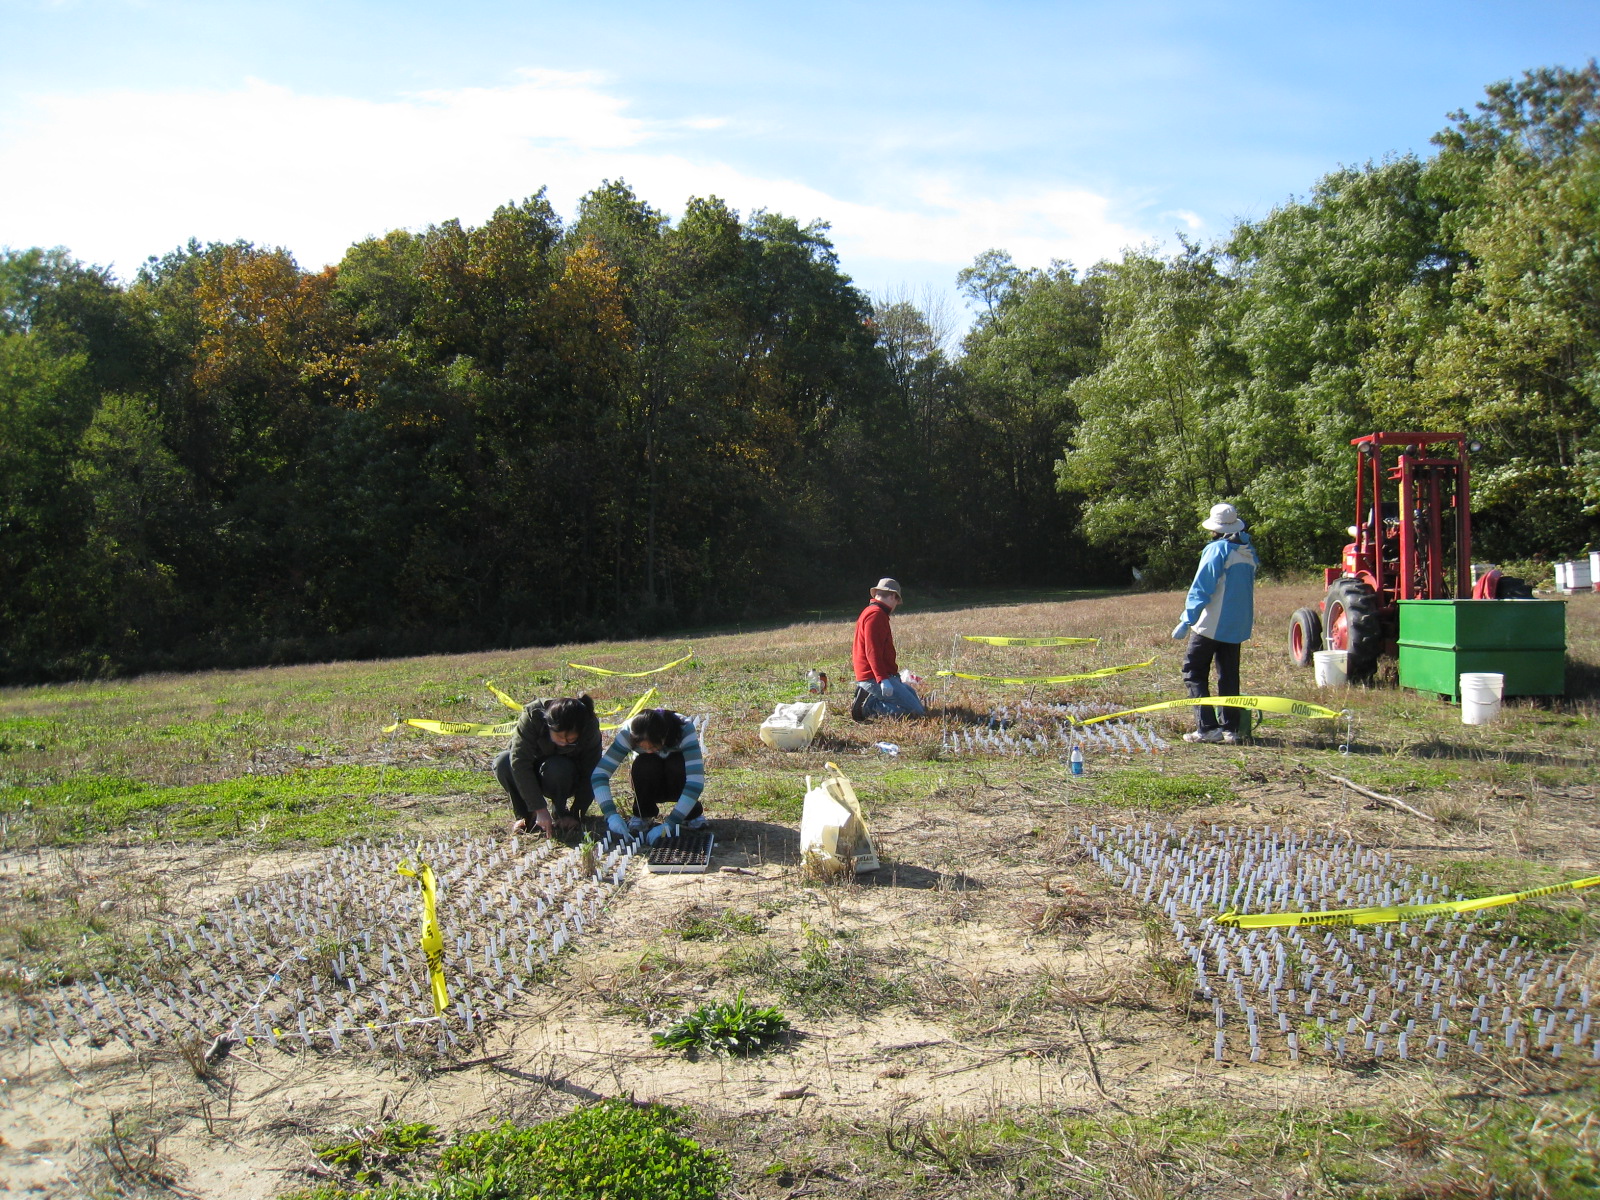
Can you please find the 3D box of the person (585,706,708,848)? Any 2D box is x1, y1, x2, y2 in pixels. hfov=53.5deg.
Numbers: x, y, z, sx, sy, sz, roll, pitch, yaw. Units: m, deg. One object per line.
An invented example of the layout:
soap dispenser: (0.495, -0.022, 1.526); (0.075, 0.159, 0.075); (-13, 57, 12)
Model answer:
person: (-1.392, 1.578, 15.250); (1.010, 1.551, 1.528); (1, 24, 7)

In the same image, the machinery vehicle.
machinery vehicle: (9.074, -0.717, 22.780); (2.498, 4.177, 4.475); (0, 4, 1)

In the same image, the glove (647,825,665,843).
glove: (-1.321, 2.140, 14.740); (0.131, 0.040, 0.144); (0, 20, 11)

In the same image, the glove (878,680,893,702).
glove: (1.082, 1.086, 19.747); (0.237, 0.254, 0.064); (-2, 2, 6)

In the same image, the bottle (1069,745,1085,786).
bottle: (2.951, 1.749, 16.875); (0.217, 0.415, 0.222); (-1, -3, 0)

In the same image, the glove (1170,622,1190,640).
glove: (4.919, 0.378, 20.471); (0.156, 0.165, 0.276); (-49, -6, -45)

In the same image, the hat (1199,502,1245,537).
hat: (4.989, -0.884, 18.707); (0.481, 0.381, 0.682); (-4, 18, 8)

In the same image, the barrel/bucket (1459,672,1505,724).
barrel/bucket: (8.035, 1.125, 18.655); (0.485, 0.612, 0.529); (0, 0, 0)

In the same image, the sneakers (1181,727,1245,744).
sneakers: (4.827, 1.469, 18.355); (0.620, 0.289, 0.256); (3, 0, 14)

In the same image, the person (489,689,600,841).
person: (-2.311, 1.571, 15.154); (0.805, 1.357, 1.006); (-4, 3, -43)

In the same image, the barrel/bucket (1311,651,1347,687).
barrel/bucket: (7.144, 0.902, 21.283); (0.432, 0.464, 0.393); (-1, 2, 24)
